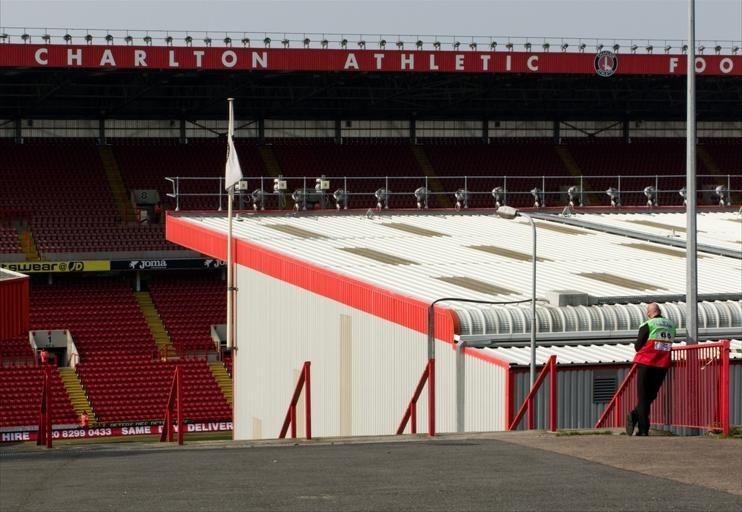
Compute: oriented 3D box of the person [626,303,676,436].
[{"bbox_3d":[7.917,3.259,56.559,1.302,3.801,0.579,0,-2,6],"label":"person"}]
